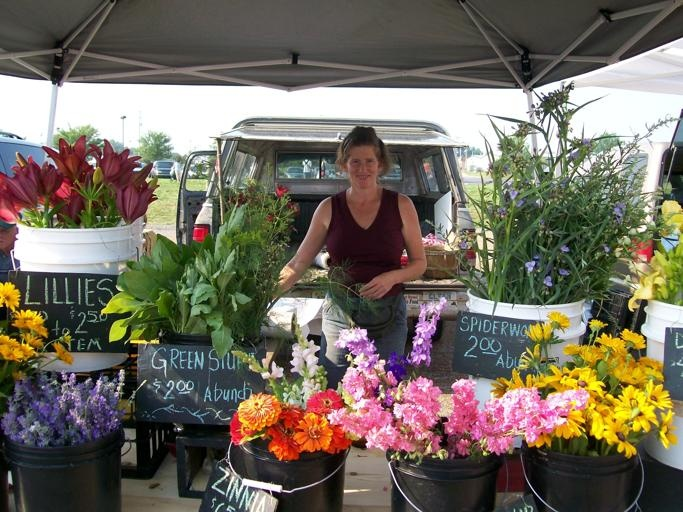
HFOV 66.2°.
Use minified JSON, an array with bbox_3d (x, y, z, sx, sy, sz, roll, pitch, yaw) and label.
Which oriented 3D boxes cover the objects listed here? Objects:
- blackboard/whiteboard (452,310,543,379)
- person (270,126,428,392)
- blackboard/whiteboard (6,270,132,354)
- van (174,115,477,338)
[{"bbox_3d":[0.568,0.318,1.886,0.229,0.203,0.019,7,9,18],"label":"blackboard/whiteboard"},{"bbox_3d":[0.081,0.008,2.479,0.655,1.293,0.540,2,1,1],"label":"person"},{"bbox_3d":[-1.019,0.206,1.976,0.309,0.234,0.016,1,10,-1],"label":"blackboard/whiteboard"},{"bbox_3d":[-0.191,-0.542,6.592,2.992,2.124,4.373,1,14,-10],"label":"van"}]
